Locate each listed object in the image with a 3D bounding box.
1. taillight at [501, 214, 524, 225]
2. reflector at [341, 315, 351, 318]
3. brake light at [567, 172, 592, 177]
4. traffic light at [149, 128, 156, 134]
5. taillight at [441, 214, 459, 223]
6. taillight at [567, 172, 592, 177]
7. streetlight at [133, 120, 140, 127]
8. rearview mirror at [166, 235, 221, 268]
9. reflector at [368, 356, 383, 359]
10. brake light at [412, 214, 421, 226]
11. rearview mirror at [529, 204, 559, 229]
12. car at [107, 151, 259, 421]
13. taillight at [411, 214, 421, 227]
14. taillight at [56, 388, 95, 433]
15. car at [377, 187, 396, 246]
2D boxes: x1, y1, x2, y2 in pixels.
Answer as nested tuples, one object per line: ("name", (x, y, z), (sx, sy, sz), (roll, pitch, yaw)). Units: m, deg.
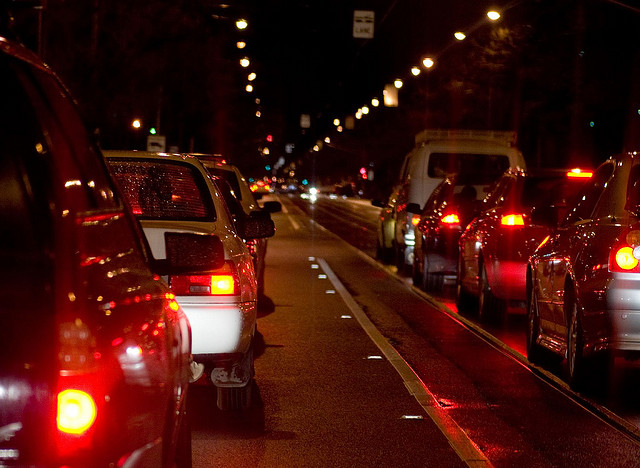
("taillight", (3.379, -0.238, 9.672), (0.199, 0.055, 0.205), (-1, 36, 16))
("reflector", (0.527, 1.686, 11.297), (0.199, 0.006, 0.278), (1, 2, 8))
("brake light", (4.655, -1.061, 9.854), (0.438, 0.079, 0.151), (0, 2, -5))
("traffic light", (-15.269, -9.450, 50.199), (0.567, 0.384, 0.827), (-1, -9, -20))
("taillight", (3.190, -0.373, 13.473), (0.378, 0.200, 0.154), (1, 2, 6))
("taillight", (4.659, -1.062, 9.862), (0.442, 0.080, 0.186), (0, 2, -12))
("streetlight", (-14.335, -8.504, 42.802), (0.450, 0.473, 1.095), (0, 2, -23))
("rearview mirror", (-0.955, 0.127, 4.150), (0.445, 0.312, 0.047), (1, 17, -12))
("reflector", (0.820, 1.851, 8.309), (0.208, 0.002, 0.153), (1, 2, 0))
("brake light", (2.816, -0.402, 16.205), (0.144, 0.330, 0.421), (0, 2, -1))
("rearview mirror", (3.115, -0.232, 7.646), (0.360, 0.361, 0.224), (0, -3, 9))
("car", (-2.213, 0.193, 7.726), (2.335, 2.602, 5.315), (-1, 9, -14))
("taillight", (2.821, -0.411, 16.322), (0.069, 0.280, 0.303), (15, 35, -33))
("taillight", (-0.694, 0.500, 1.562), (0.098, 0.118, 0.027), (5, -6, -19))
("car", (2.467, -0.655, 20.526), (0.630, 2.211, 2.602), (1, 2, 6))
